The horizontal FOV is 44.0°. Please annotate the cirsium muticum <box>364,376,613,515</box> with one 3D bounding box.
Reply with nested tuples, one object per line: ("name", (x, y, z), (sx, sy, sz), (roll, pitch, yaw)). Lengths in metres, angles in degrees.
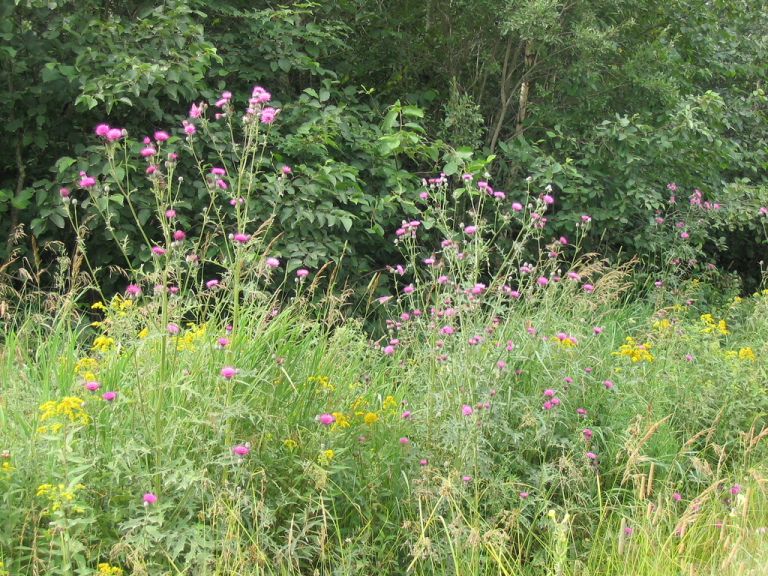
("cirsium muticum", (0.802, 1.116, 6.244), (0.941, 0.500, 1.024), (-11, 6, -5))
